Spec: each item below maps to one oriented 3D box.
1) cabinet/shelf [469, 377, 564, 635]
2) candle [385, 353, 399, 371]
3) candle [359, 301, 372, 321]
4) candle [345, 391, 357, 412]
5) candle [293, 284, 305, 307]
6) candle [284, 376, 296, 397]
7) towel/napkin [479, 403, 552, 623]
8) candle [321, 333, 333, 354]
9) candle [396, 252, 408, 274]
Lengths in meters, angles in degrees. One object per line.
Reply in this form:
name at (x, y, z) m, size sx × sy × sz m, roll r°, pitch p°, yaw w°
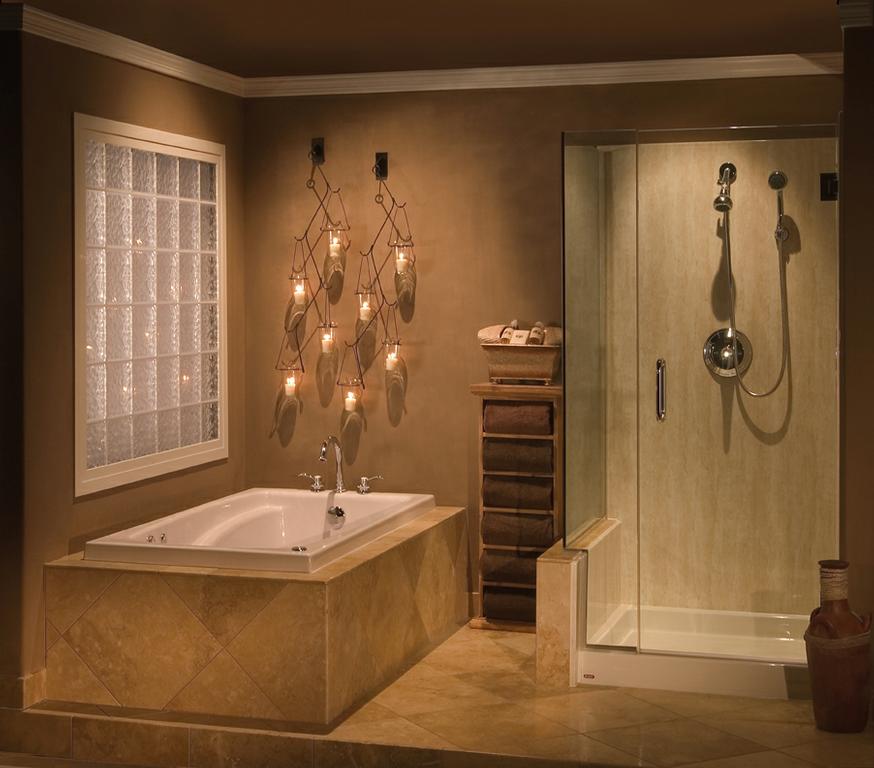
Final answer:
cabinet/shelf at (0.479, 0.665, 5.011) m, size 0.495 × 1.507 × 0.474 m, roll 1°, pitch 17°, yaw 7°
candle at (-0.273, -0.136, 5.226) m, size 0.076 × 0.108 × 0.084 m, roll 6°, pitch 9°, yaw 27°
candle at (-0.441, -0.452, 5.229) m, size 0.076 × 0.117 × 0.066 m, roll -2°, pitch 1°, yaw 8°
candle at (-0.527, 0.109, 5.256) m, size 0.094 × 0.134 × 0.103 m, roll 3°, pitch 6°, yaw 30°
candle at (-0.857, -0.558, 5.332) m, size 0.086 × 0.200 × 0.092 m, roll 0°, pitch 1°, yaw -23°
candle at (-0.931, 0.018, 5.369) m, size 0.097 × 0.127 × 0.089 m, roll -2°, pitch 1°, yaw 7°
towel/napkin at (0.448, 0.745, 4.818) m, size 0.465 × 1.168 × 0.198 m, roll -2°, pitch 1°, yaw 35°
candle at (-0.681, -0.252, 5.309) m, size 0.083 × 0.120 × 0.094 m, roll 0°, pitch 7°, yaw -1°
candle at (-0.210, -0.740, 5.150) m, size 0.063 × 0.133 × 0.085 m, roll -2°, pitch 1°, yaw -5°
